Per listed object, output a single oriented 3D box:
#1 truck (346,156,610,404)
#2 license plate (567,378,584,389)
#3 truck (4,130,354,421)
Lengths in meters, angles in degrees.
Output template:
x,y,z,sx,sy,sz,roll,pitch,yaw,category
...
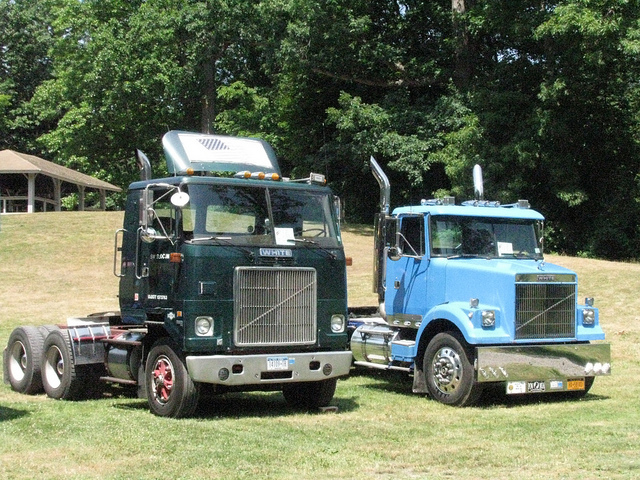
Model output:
x,y,z,sx,sy,sz,roll,pitch,yaw,category
2.002,0.918,21.406,3.696,5.141,9.578,3,-4,-32,truck
4.968,2.772,17.623,0.430,0.214,0.069,-4,7,-34,license plate
-3.174,1.019,18.439,3.667,4.119,6.879,4,-7,-36,truck
